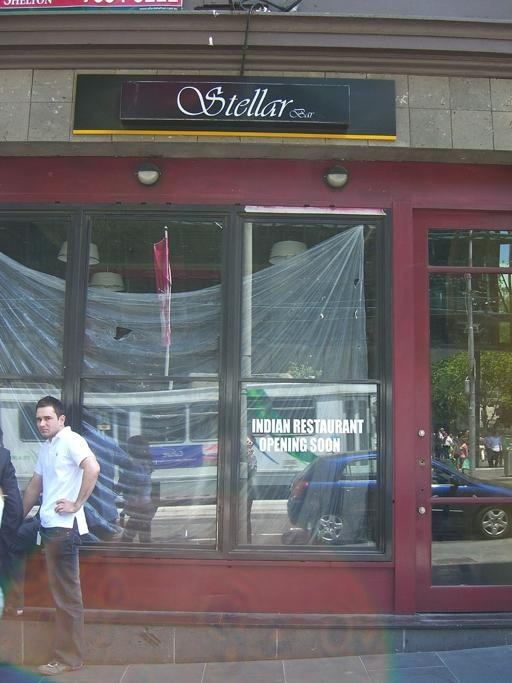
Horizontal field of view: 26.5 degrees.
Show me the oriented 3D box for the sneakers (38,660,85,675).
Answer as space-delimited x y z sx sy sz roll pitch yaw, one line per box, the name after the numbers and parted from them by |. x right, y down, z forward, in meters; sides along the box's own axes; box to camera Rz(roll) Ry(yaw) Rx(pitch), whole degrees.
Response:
-1.348 2.249 7.544 0.263 0.092 0.108 9 -17 -14 | sneakers

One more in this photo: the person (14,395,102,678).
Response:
-1.371 1.344 7.610 0.553 1.895 0.317 1 -7 2 | person

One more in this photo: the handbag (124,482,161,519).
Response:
-0.797 1.180 8.224 0.198 0.261 0.359 4 1 8 | handbag
